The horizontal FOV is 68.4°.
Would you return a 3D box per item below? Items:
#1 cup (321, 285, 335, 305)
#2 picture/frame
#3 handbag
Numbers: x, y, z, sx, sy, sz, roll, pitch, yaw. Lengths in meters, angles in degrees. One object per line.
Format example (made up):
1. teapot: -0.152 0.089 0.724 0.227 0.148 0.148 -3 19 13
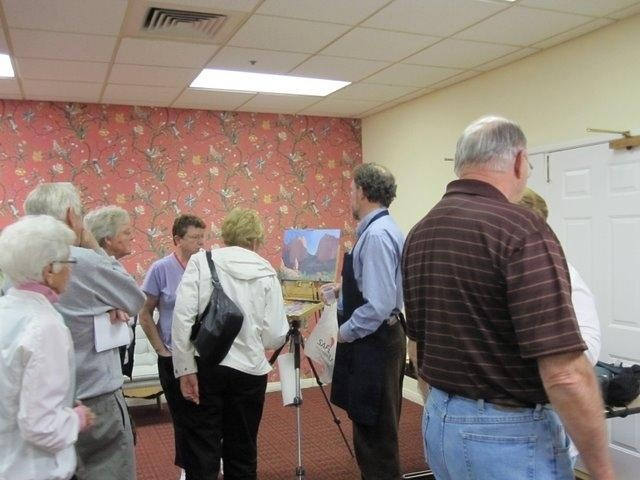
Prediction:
1. cup: 0.050 0.369 3.058 0.102 0.083 0.103 -1 -3 0
2. picture/frame: -0.091 0.137 3.979 0.585 0.504 0.043 -2 -22 34
3. handbag: -0.540 0.300 2.511 0.198 0.472 0.308 -2 -1 -13
